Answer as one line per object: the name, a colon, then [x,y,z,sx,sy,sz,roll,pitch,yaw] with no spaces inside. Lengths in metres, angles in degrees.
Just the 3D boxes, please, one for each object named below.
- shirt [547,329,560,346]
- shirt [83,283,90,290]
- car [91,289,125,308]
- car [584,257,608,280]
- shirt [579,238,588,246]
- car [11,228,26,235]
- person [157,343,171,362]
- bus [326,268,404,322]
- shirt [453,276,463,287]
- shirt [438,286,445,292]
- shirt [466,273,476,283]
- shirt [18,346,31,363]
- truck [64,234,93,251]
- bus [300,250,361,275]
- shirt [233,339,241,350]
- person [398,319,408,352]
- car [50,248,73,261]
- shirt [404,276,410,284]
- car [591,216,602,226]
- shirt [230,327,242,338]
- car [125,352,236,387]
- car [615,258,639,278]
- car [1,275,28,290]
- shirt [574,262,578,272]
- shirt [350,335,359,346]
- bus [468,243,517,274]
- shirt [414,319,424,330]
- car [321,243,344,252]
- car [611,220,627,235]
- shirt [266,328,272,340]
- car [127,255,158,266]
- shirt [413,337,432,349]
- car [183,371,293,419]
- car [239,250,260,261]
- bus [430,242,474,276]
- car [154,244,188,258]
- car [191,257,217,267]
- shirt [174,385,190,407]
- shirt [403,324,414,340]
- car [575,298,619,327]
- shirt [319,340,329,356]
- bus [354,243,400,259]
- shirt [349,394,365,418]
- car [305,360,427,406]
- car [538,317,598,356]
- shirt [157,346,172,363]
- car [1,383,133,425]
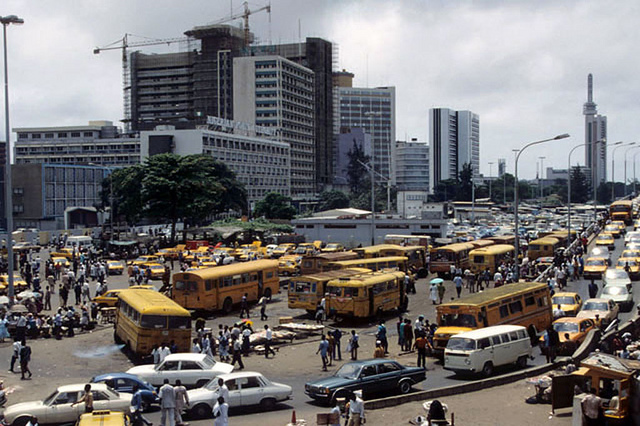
shirt: [19.085,10.169,89.258,1.416,1.288,0.769,2,8,31]
shirt: [-22.259,6.939,104.105,0.861,0.761,0.456,1,5,6]
car: [-19.878,8.083,103.432,2.939,1.249,1.865,1,-2,2]
car: [27.945,5.693,110.615,2.078,1.940,2.757,-3,1,18]
shirt: [30.814,3.380,127.438,0.902,0.969,0.282,-6,-38,-6]
car: [-40.907,2.587,149.399,1.505,0.587,2.152,2,6,9]
person: [-12.581,11.356,89.183,1.393,1.633,0.625,1,0,9]
bus: [4.933,7.732,104.338,4.436,4.351,11.497,-1,2,27]
shirt: [13.448,6.625,105.655,0.617,0.887,1.072,-3,1,12]
shirt: [11.646,7.151,103.760,0.735,0.713,0.416,3,9,15]
shirt: [15.160,6.486,109.309,0.868,1.106,0.633,3,19,24]
shirt: [-23.865,11.434,88.879,0.796,1.344,0.649,-3,1,-12]
truck: [-30.725,3.799,140.595,1.747,1.468,3.012,5,9,35]
bus: [1.473,5.093,114.314,2.356,1.802,6.992,-1,2,26]
shirt: [-6.727,10.837,90.567,0.603,0.976,0.820,-2,5,-11]
person: [7.249,10.373,93.478,0.645,2.571,0.776,-3,1,-12]
car: [-29.571,4.871,126.828,2.356,0.985,1.387,-1,2,9]
shirt: [8.821,6.616,108.472,0.335,0.660,1.230,-3,1,9]
car: [41.899,1.071,164.112,1.606,1.390,1.687,4,-3,10]
shirt: [-7.150,10.283,93.579,1.119,1.025,0.595,2,7,0]
car: [-11.101,12.412,86.826,7.467,2.126,3.189,1,-1,-1]
car: [31.490,5.453,110.697,1.579,1.137,3.410,-2,-6,23]
car: [-30.987,7.072,110.990,2.697,0.817,1.324,9,9,44]
shirt: [26.353,5.466,112.035,0.257,0.811,0.837,-3,1,23]
shirt: [2.908,10.546,91.515,0.590,0.724,0.897,-3,1,12]
bus: [18.915,4.791,118.083,2.919,3.098,8.457,3,10,30]
shirt: [8.629,9.484,93.463,0.676,0.804,0.829,-1,-6,-22]
car: [1.596,4.106,129.365,2.545,0.850,4.291,-3,1,-2]
car: [40.361,1.942,146.563,1.555,1.085,3.404,-3,-1,18]
shirt: [-4.247,10.239,93.054,0.420,0.913,0.827,-3,1,-12]
car: [-19.255,5.229,122.742,1.683,0.864,2.883,-2,-3,29]
shirt: [8.628,10.680,90.488,1.396,0.518,1.362,0,3,11]
car: [-6.330,14.014,84.982,7.288,2.057,3.330,0,-2,-17]
car: [-8.293,5.016,128.631,1.105,0.810,1.864,-2,-4,26]
bus: [14.139,5.444,120.670,3.068,2.993,8.728,-2,-2,11]
car: [-17.526,4.921,131.576,1.747,0.819,2.888,5,10,40]
car: [-12.368,5.344,119.161,1.830,0.785,1.188,-1,1,33]
shirt: [-10.422,13.865,82.941,1.847,1.575,0.581,1,5,4]
shirt: [7.659,10.081,93.328,0.898,1.252,0.392,-3,1,-21]
car: [24.429,8.427,95.893,3.010,1.872,6.015,0,11,26]
shirt: [0.492,11.075,90.513,0.636,1.224,0.857,-3,1,1]
bus: [6.208,4.122,116.934,1.555,1.116,4.408,0,1,43]
shirt: [2.811,14.402,81.570,1.490,1.399,0.811,-11,-30,27]
car: [3.706,13.043,85.640,7.514,1.924,3.544,-1,-2,-30]
car: [20.956,10.026,92.485,3.316,2.125,6.718,2,9,25]
shirt: [-12.504,11.474,88.502,1.176,1.265,0.486,3,3,6]
car: [-19.134,14.516,83.694,8.866,2.414,3.804,1,-3,-2]
